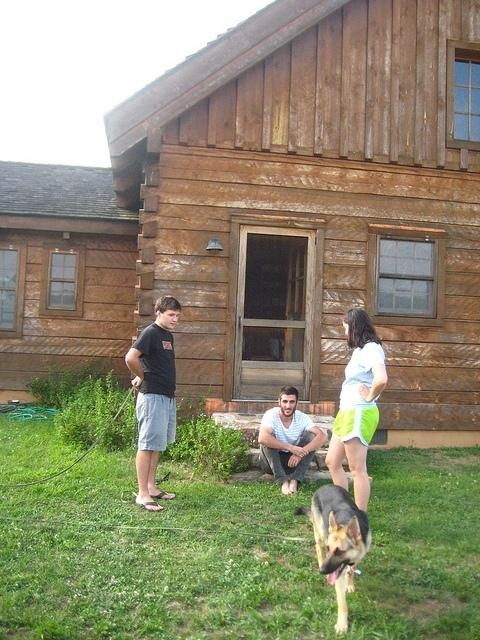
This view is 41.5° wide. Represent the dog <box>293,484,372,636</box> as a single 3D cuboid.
[{"bbox_3d":[0.543,1.300,3.651,0.366,0.593,0.897,4,2,6],"label":"dog"}]

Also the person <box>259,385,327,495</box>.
[{"bbox_3d":[0.491,1.080,5.862,0.620,0.732,0.566,4,2,5],"label":"person"}]

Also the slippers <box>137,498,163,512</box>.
[{"bbox_3d":[-0.713,1.464,5.010,0.081,0.039,0.161,4,-8,-41],"label":"slippers"}]

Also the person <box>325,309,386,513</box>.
[{"bbox_3d":[0.797,0.626,4.377,0.352,1.127,0.577,4,2,9],"label":"person"}]

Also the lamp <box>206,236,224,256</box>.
[{"bbox_3d":[-0.300,-0.887,7.613,0.223,0.181,0.217,-1,0,23],"label":"lamp"}]

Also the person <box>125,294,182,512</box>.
[{"bbox_3d":[-0.727,0.647,5.178,0.420,1.090,0.595,4,2,-6],"label":"person"}]
